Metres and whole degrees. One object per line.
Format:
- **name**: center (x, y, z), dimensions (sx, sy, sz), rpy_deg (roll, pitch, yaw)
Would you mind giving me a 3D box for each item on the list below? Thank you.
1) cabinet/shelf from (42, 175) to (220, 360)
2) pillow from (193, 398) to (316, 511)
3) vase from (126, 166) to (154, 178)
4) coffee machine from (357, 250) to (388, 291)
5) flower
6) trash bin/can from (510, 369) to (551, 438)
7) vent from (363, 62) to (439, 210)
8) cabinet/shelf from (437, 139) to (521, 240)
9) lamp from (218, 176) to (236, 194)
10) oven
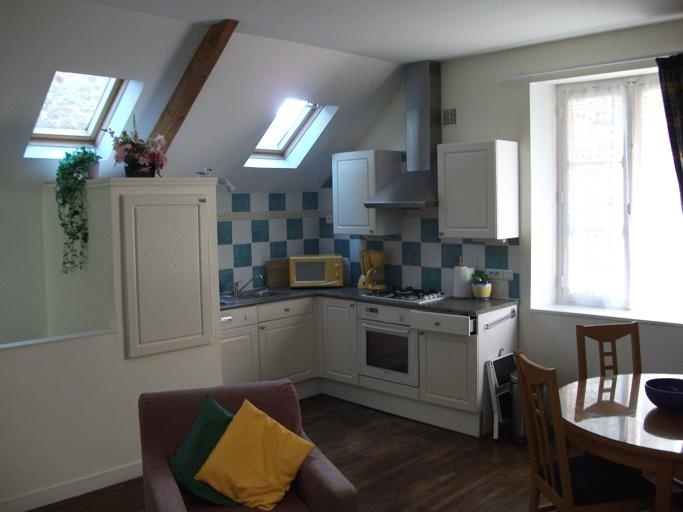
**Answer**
- **cabinet/shelf**: center (-1.420, 0.214, 4.523), dimensions (0.929, 1.505, 1.111), rpy_deg (-4, -6, -19)
- **pillow**: center (-0.485, 1.108, 2.857), dimensions (0.533, 0.426, 0.345), rpy_deg (3, 10, 23)
- **vase**: center (-1.602, -0.662, 4.106), dimensions (0.131, 0.087, 0.126), rpy_deg (-3, 3, -42)
- **coffee machine**: center (0.344, 0.122, 5.603), dimensions (0.280, 0.396, 0.233), rpy_deg (0, 8, 22)
- **flower**: center (-1.694, -0.850, 4.111), dimensions (0.265, 0.401, 0.361), rpy_deg (-2, 14, 21)
- **trash bin/can**: center (1.631, 1.302, 4.416), dimensions (0.324, 0.571, 0.360), rpy_deg (-3, -10, 13)
- **vent**: center (0.595, -1.177, 4.982), dimensions (0.702, 1.392, 0.639), rpy_deg (1, 9, 11)
- **cabinet/shelf**: center (1.208, -0.556, 4.774), dimensions (0.571, 0.835, 0.448), rpy_deg (-1, -4, 33)
- **lamp**: center (-1.182, -0.735, 5.299), dimensions (0.089, 0.169, 0.214), rpy_deg (-15, 8, -42)
- **oven**: center (0.453, 0.912, 4.905), dimensions (0.470, 0.558, 0.693), rpy_deg (0, 2, -44)
